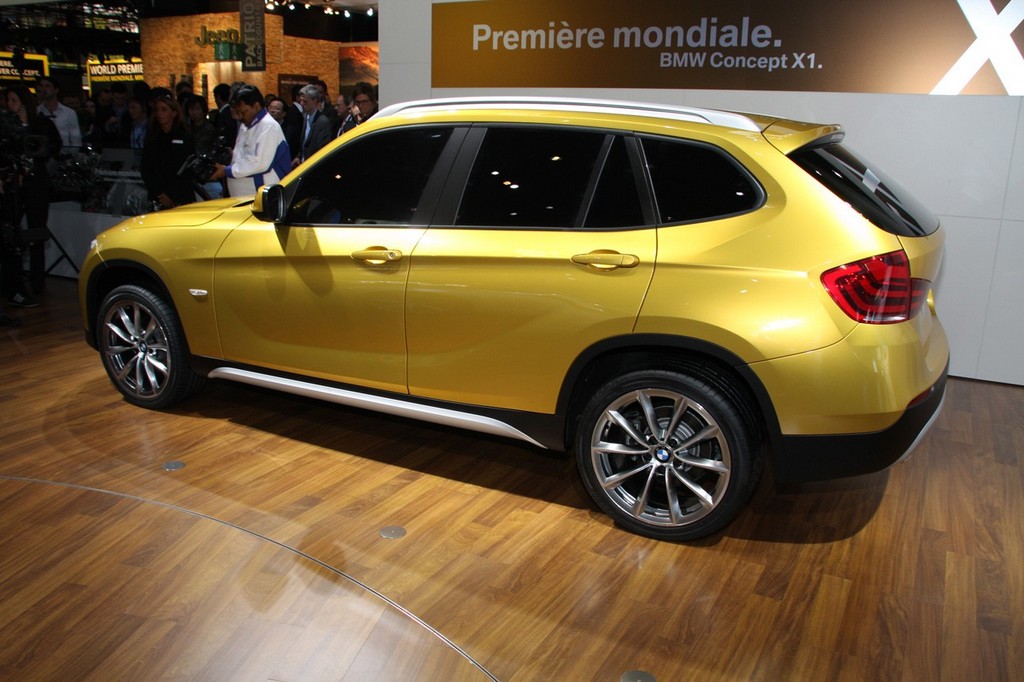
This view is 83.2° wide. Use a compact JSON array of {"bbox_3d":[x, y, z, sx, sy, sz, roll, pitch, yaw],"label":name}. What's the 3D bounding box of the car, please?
[{"bbox_3d":[-0.339,-0.505,4.008,5.047,1.769,2.304,8,17,22],"label":"car"}]
